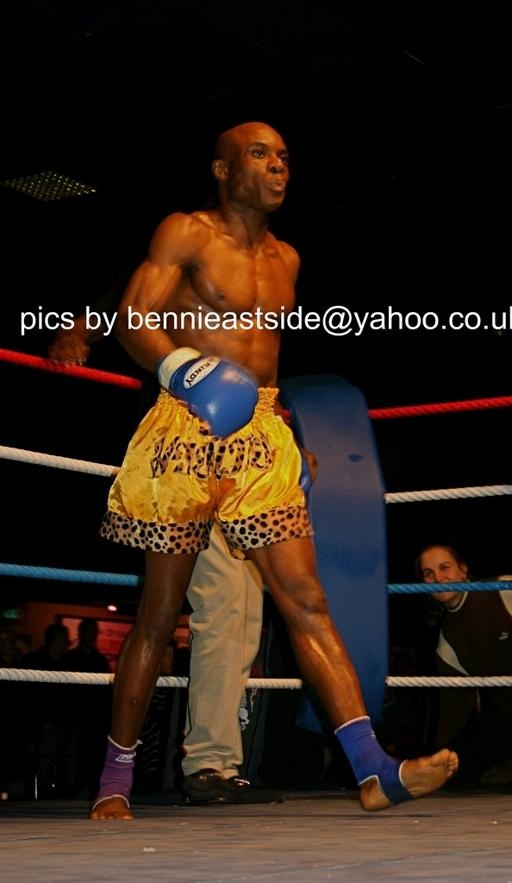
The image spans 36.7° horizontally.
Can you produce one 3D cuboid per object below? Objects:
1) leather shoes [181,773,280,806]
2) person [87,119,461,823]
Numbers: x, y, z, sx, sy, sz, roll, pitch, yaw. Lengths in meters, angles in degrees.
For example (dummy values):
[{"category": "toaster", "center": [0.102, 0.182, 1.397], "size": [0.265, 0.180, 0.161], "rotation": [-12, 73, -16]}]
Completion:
[{"category": "leather shoes", "center": [-0.050, 0.784, 1.770], "size": [0.248, 0.093, 0.082], "rotation": [-1, -17, -2]}, {"category": "person", "center": [-0.027, -0.032, 1.512], "size": [0.502, 1.366, 0.671], "rotation": [7, 0, -21]}]
